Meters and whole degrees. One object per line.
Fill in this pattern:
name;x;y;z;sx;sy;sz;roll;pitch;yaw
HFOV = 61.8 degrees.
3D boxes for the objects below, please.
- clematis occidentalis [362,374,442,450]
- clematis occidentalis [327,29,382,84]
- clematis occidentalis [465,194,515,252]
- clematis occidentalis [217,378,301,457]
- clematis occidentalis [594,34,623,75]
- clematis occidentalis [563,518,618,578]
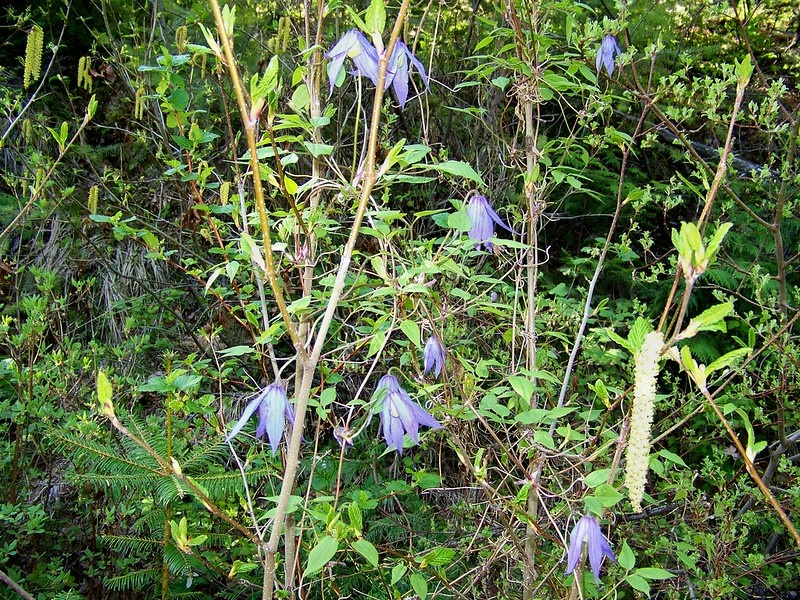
clematis occidentalis;0.013;0.403;2.422;0.239;0.144;0.339;-5;12;-19
clematis occidentalis;-0.174;-0.861;2.390;0.178;0.201;0.247;1;27;-8
clematis occidentalis;0.334;-0.352;2.690;0.175;0.224;0.249;12;13;27
clematis occidentalis;-0.454;0.395;2.331;0.204;0.113;0.262;5;34;17
clematis occidentalis;0.946;-1.105;3.048;0.108;0.195;0.279;10;28;13
clematis occidentalis;0.651;0.820;2.284;0.156;0.195;0.164;-1;1;-25
